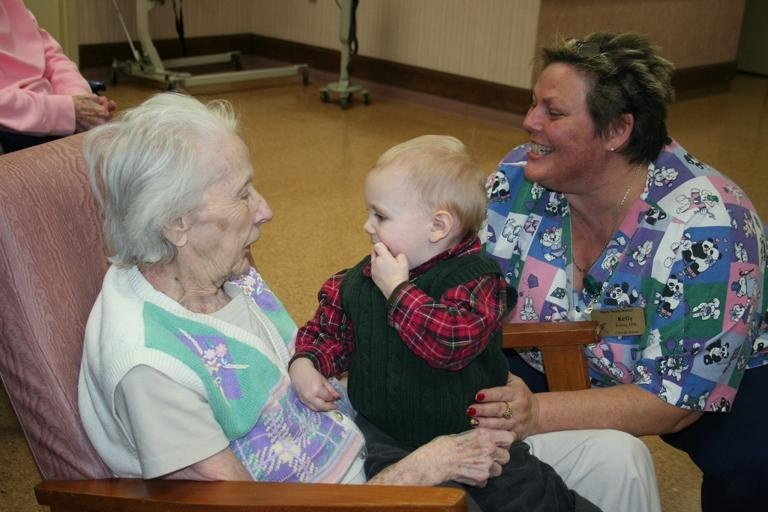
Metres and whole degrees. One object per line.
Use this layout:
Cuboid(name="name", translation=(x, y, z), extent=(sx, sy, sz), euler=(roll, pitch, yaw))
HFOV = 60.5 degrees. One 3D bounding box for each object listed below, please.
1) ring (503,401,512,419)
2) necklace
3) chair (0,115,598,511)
Cuboid(name="ring", translation=(0.398, 0.493, 2.130), extent=(0.019, 0.050, 0.037), euler=(-11, -1, 41))
Cuboid(name="necklace", translation=(0.831, -0.134, 2.426), extent=(0.078, 0.395, 0.218), euler=(22, -3, -21))
Cuboid(name="chair", translation=(-0.197, 0.079, 2.332), extent=(1.186, 1.609, 0.972), euler=(3, 11, 27))
